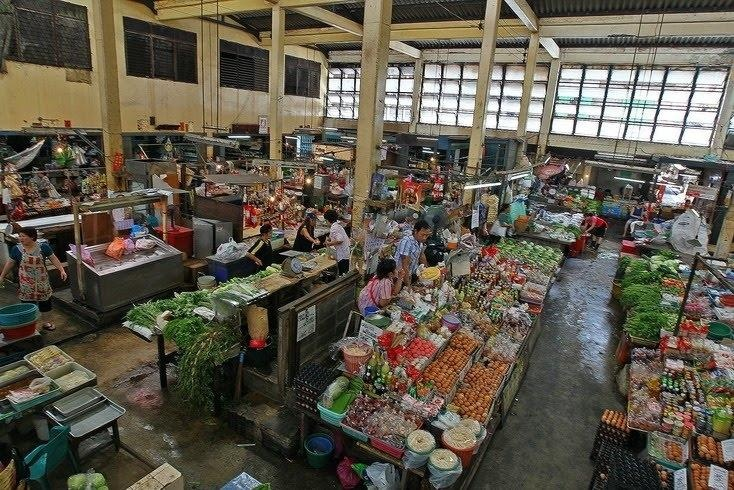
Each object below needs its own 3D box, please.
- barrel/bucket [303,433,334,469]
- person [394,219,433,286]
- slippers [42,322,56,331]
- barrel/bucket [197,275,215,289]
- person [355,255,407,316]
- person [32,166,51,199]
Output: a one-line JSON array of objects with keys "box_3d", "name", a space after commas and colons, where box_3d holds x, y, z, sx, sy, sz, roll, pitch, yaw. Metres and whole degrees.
[{"box_3d": [-0.829, 3.585, 7.876, 0.553, 0.412, 0.578, 2, 22, -1], "name": "barrel/bucket"}, {"box_3d": [1.062, 0.214, 9.841, 0.628, 1.681, 0.567, 35, 56, 19], "name": "person"}, {"box_3d": [-7.053, 1.798, 9.864, 0.280, 0.117, 0.146, 11, 18, 35], "name": "slippers"}, {"box_3d": [-3.719, 0.838, 10.333, 0.322, 0.225, 0.344, 1, 11, 0], "name": "barrel/bucket"}, {"box_3d": [0.279, 0.763, 8.825, 1.093, 1.056, 0.477, -12, 22, -41], "name": "person"}, {"box_3d": [-10.160, -1.897, 13.906, 0.456, 0.780, 0.738, -10, 21, -35], "name": "person"}]
